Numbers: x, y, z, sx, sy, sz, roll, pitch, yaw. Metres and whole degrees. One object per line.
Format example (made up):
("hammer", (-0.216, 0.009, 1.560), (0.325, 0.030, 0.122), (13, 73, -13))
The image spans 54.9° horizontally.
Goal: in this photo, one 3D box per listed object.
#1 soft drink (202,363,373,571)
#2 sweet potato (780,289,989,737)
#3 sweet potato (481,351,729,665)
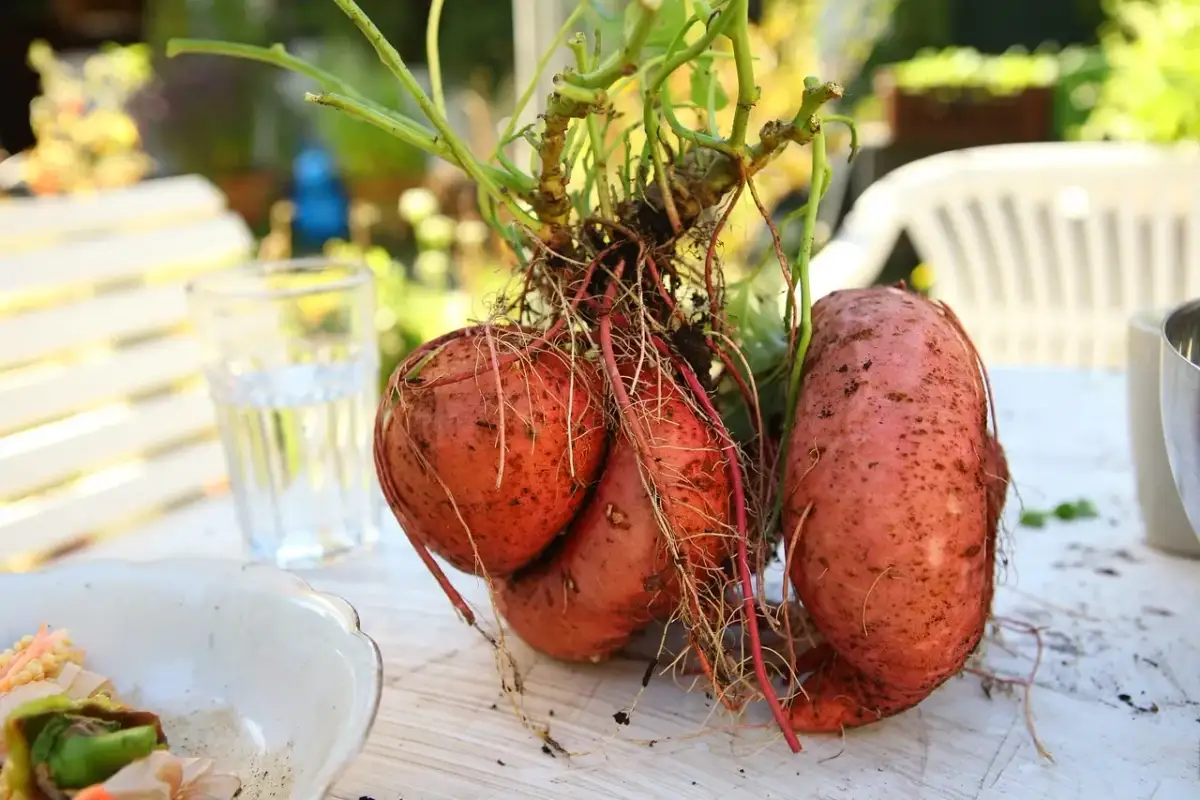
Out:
("soft drink", (-0.316, 0.061, 1.189), (0.172, 0.210, 0.166), (5, 0, -30))
("sweet potato", (0.225, 0.087, 0.974), (0.152, 0.346, 0.153), (5, -2, 6))
("sweet potato", (0.016, 0.043, 1.022), (0.249, 0.103, 0.258), (-43, -1, 17))
